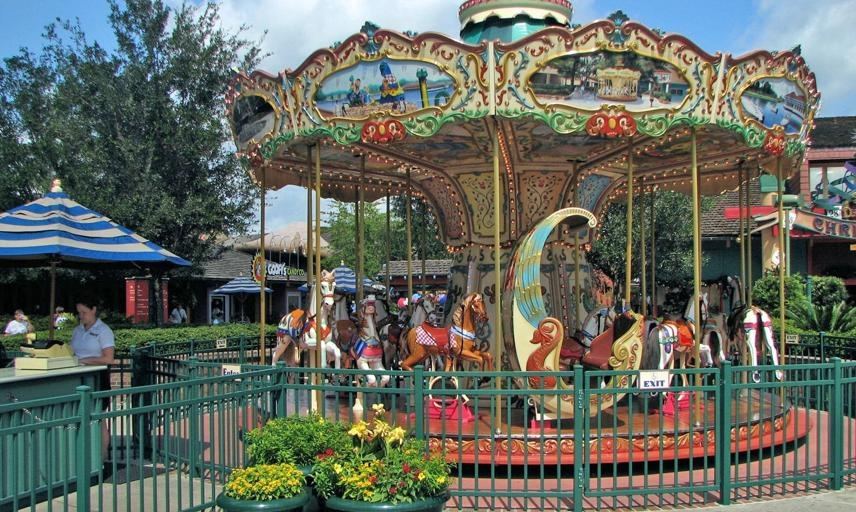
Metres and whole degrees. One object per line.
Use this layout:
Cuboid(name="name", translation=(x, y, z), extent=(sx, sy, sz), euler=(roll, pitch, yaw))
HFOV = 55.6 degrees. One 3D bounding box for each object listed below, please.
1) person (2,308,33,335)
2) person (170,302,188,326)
Cuboid(name="person", translation=(-13.737, 2.216, 27.056), extent=(0.494, 0.841, 0.877), euler=(5, 4, 26))
Cuboid(name="person", translation=(-10.191, 2.397, 33.049), extent=(0.675, 1.271, 0.500), euler=(-6, 8, -38))
